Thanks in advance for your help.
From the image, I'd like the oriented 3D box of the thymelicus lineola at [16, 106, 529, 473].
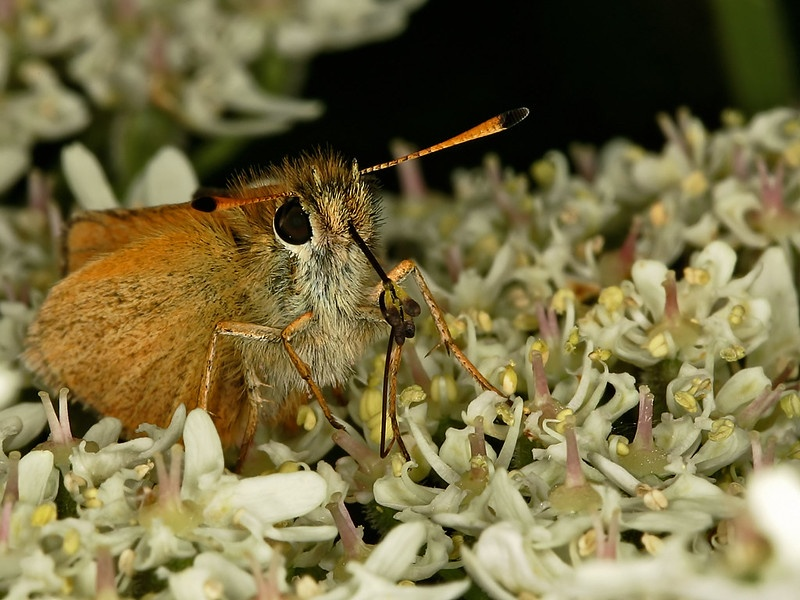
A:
[{"bbox_3d":[-0.324,0.049,2.031,0.734,0.542,0.933,-11,-3,34],"label":"thymelicus lineola"}]
